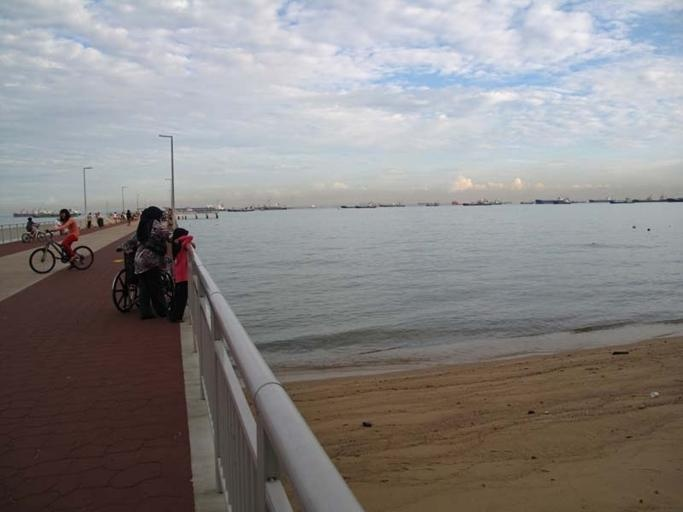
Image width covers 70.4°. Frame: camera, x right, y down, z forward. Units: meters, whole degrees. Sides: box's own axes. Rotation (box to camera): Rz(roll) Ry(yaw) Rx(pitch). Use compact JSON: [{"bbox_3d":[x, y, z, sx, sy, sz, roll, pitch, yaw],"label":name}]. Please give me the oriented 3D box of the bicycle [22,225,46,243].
[{"bbox_3d":[-18.449,-1.239,29.135,1.693,0.891,0.815,-1,5,8],"label":"bicycle"}]
